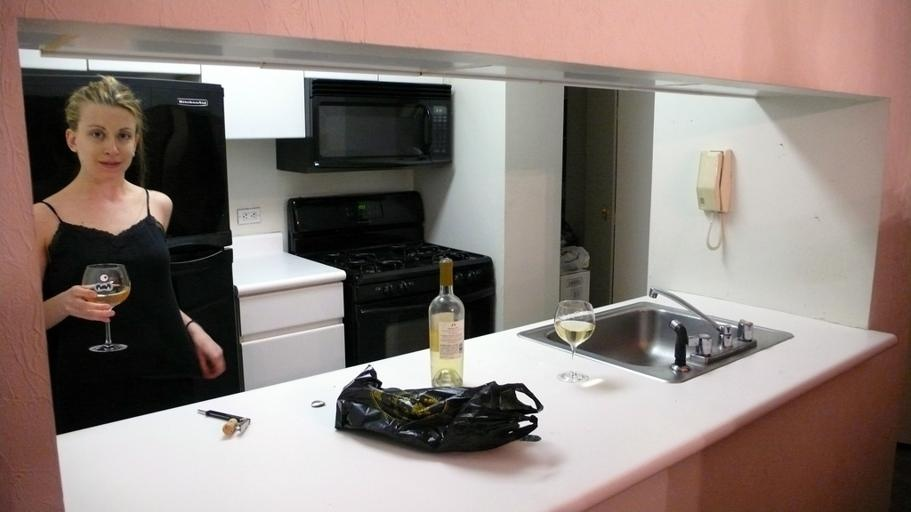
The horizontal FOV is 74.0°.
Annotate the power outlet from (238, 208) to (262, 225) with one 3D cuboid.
[{"bbox_3d":[-1.330,-0.259,3.890,0.117,0.074,0.016,-6,11,-40],"label":"power outlet"}]

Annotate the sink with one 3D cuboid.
[{"bbox_3d":[0.851,0.368,2.718,0.508,0.208,0.572,-9,13,-31],"label":"sink"}]

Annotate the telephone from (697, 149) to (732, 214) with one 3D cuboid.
[{"bbox_3d":[1.257,-0.366,2.927,0.155,0.283,0.072,2,12,21],"label":"telephone"}]

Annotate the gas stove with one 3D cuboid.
[{"bbox_3d":[-0.366,0.105,3.843,0.667,0.385,0.536,-7,10,-37],"label":"gas stove"}]

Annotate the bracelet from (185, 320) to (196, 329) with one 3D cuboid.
[{"bbox_3d":[-1.326,0.341,3.017,0.036,0.009,0.034,-17,17,10],"label":"bracelet"}]

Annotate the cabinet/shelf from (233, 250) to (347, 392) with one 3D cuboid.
[{"bbox_3d":[-1.150,0.374,3.721,0.656,0.982,0.724,-5,8,-33],"label":"cabinet/shelf"}]

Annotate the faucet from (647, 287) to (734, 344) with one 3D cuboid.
[{"bbox_3d":[1.038,0.228,2.717,0.263,0.178,0.568,-1,10,6],"label":"faucet"}]

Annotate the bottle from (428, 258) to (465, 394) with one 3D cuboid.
[{"bbox_3d":[-0.035,0.240,2.130,0.124,0.476,0.213,-3,11,-2],"label":"bottle"}]
